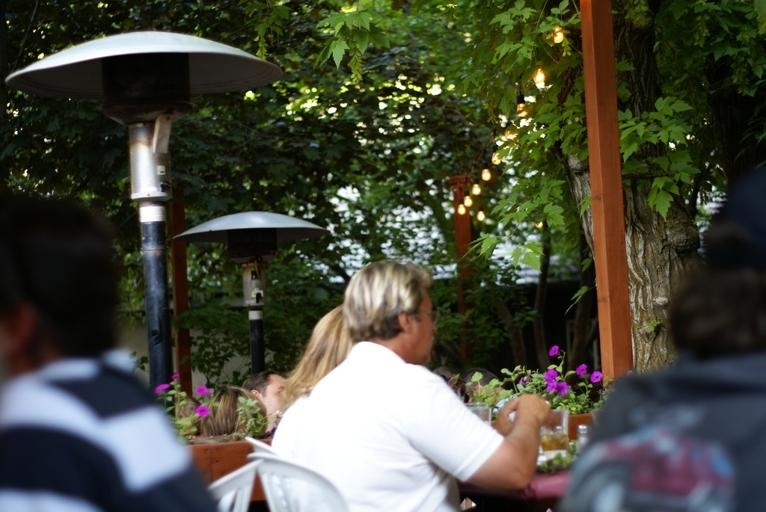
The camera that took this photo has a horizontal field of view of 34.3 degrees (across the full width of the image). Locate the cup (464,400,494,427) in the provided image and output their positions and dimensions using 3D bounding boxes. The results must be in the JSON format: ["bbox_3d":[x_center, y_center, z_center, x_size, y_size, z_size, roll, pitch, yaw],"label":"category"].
[{"bbox_3d":[0.532,0.858,6.713,0.130,0.125,0.132,-3,-4,0],"label":"cup"}]
